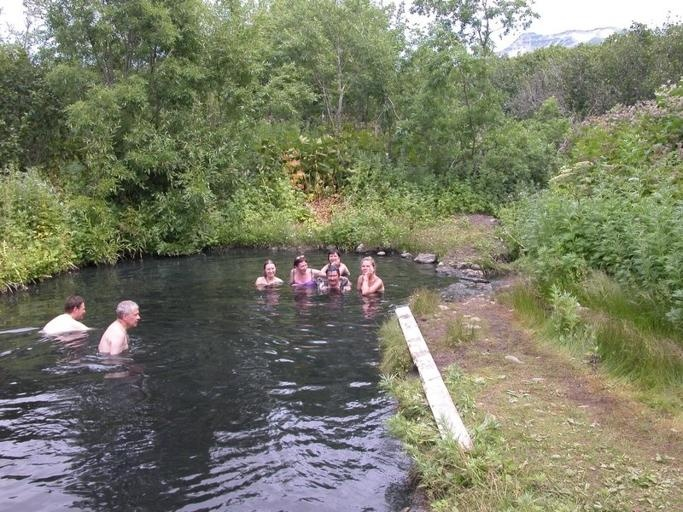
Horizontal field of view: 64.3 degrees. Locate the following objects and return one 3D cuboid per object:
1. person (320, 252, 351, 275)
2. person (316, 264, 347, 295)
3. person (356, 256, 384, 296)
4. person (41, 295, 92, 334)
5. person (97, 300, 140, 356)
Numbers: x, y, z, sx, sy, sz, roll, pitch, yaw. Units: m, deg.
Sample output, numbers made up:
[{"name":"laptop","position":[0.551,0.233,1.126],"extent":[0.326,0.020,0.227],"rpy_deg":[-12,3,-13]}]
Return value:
[{"name":"person","position":[-0.167,0.199,14.110],"extent":[0.499,0.712,0.842],"rpy_deg":[-4,-10,4]},{"name":"person","position":[-0.167,0.639,13.559],"extent":[1.001,0.928,0.589],"rpy_deg":[-2,2,4]},{"name":"person","position":[0.688,0.450,13.119],"extent":[0.638,0.835,0.821],"rpy_deg":[-2,13,2]},{"name":"person","position":[-5.373,1.112,10.580],"extent":[1.045,0.684,0.665],"rpy_deg":[11,7,32]},{"name":"person","position":[-4.135,1.363,10.046],"extent":[0.427,0.728,0.675],"rpy_deg":[4,15,-37]}]
